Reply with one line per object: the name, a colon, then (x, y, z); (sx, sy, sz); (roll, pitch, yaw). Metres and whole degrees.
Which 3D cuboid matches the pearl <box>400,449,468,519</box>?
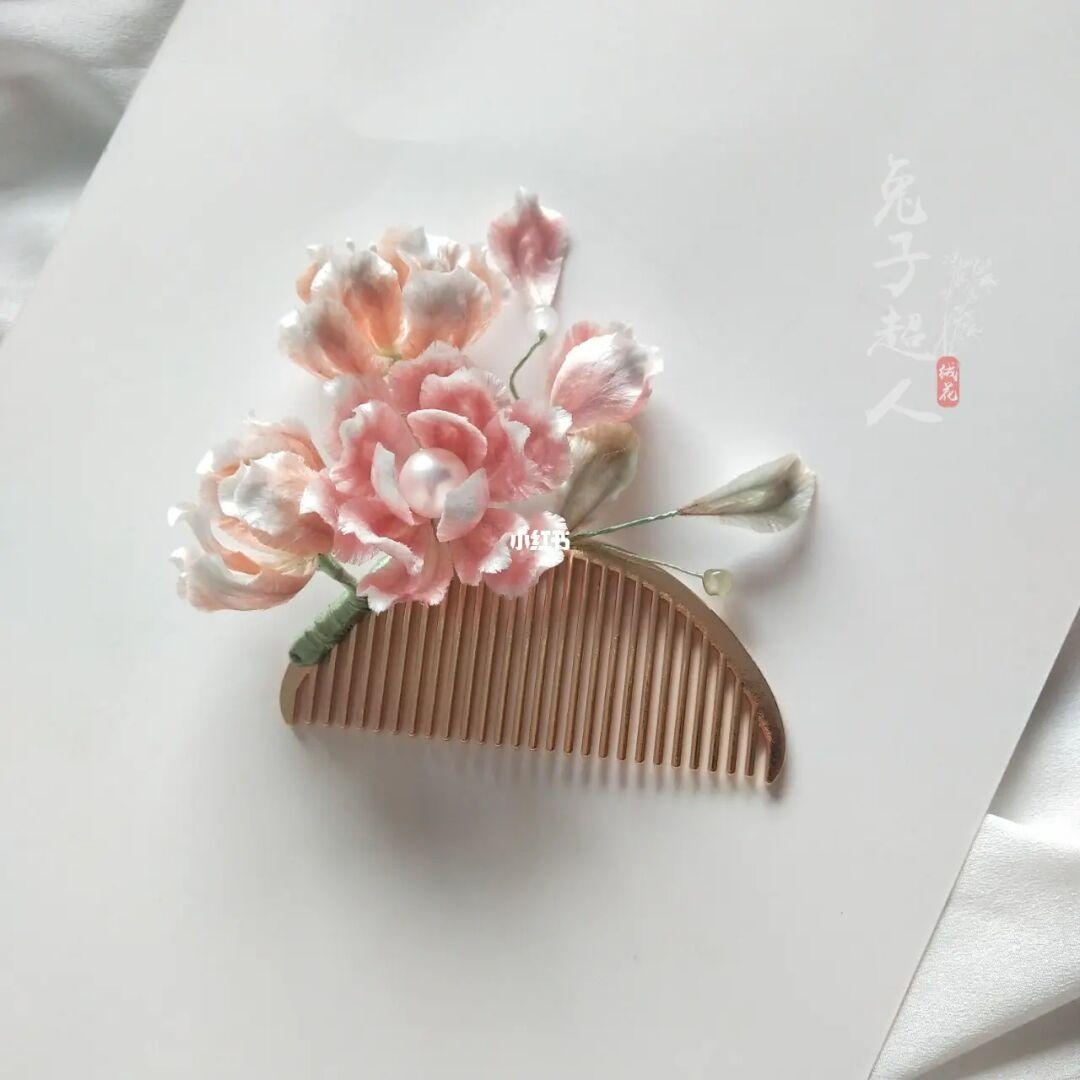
pearl: (-0.084, -0.041, 1.469); (0.045, 0.052, 0.028); (-3, -3, -5)
